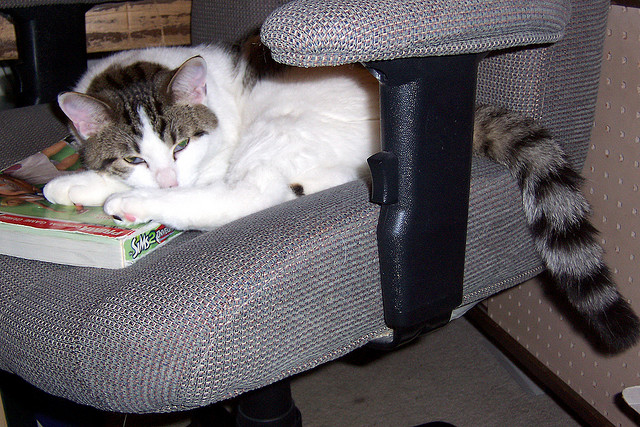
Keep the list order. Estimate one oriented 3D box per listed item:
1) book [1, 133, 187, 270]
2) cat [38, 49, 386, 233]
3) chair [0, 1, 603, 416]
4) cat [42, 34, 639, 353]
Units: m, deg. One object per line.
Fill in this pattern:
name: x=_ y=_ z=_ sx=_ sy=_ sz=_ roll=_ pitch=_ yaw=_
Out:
book: x=-0.514 y=-0.010 z=1.273 sx=0.312 sy=0.060 sz=0.287 roll=16 pitch=29 yaw=14
cat: x=-0.243 y=-0.265 z=1.633 sx=1.013 sy=0.346 sz=0.718 roll=-25 pitch=31 yaw=-38
chair: x=-0.057 y=-0.031 z=1.201 sx=0.725 sy=0.851 sz=0.771 roll=-21 pitch=44 yaw=-24
cat: x=-0.041 y=-0.223 z=1.310 sx=1.335 sy=0.537 sz=0.691 roll=10 pitch=40 yaw=16
